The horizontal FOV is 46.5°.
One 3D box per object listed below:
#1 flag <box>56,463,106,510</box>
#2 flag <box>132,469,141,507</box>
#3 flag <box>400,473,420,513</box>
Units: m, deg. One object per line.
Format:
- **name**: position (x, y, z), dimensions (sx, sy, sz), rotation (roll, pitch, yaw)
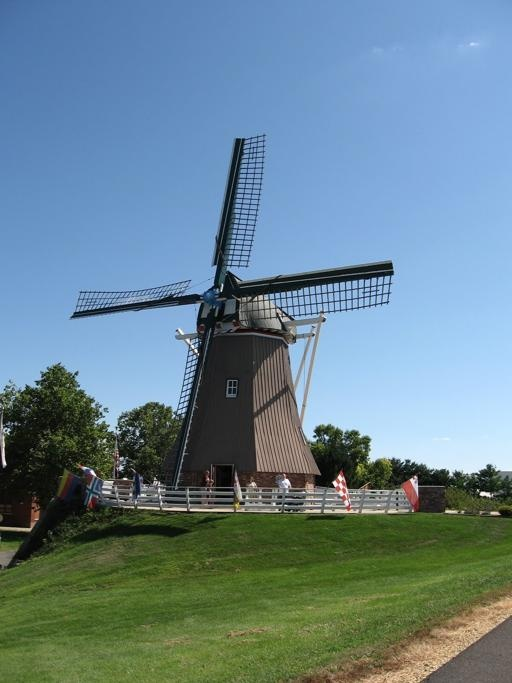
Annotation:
- **flag**: position (-7.631, 6.401, 25.893), dimensions (1.599, 1.947, 4.336), rotation (-3, -9, -22)
- **flag**: position (-4.958, 6.155, 24.690), dimensions (0.329, 1.487, 1.371), rotation (-4, -9, -16)
- **flag**: position (6.127, 6.113, 23.731), dimensions (0.570, 1.462, 1.424), rotation (-9, -9, 11)
